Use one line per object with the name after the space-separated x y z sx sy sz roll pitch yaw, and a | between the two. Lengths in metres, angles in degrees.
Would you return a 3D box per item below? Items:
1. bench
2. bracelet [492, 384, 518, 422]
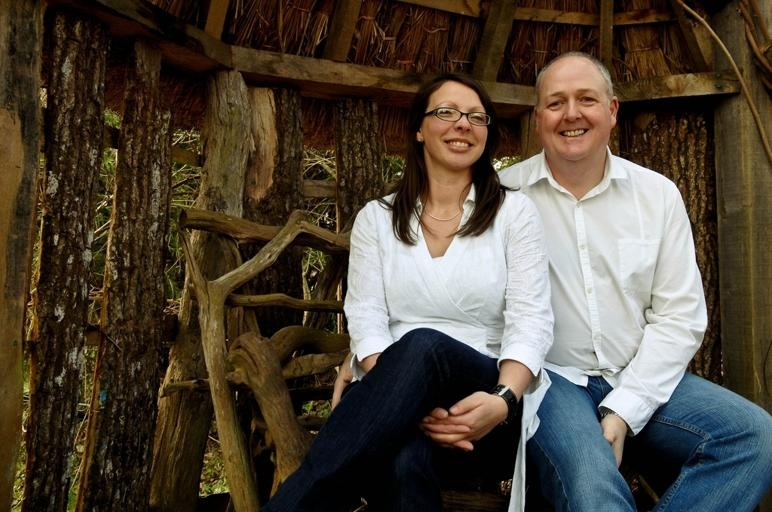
-0.165 0.557 4.412 2.170 2.552 1.800 0 -10 -21 | bench
0.514 0.651 2.842 0.122 0.171 0.067 4 -5 -37 | bracelet
